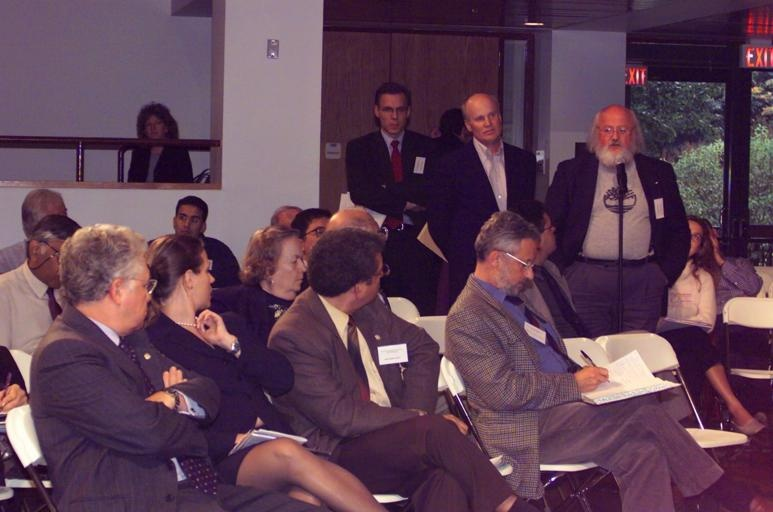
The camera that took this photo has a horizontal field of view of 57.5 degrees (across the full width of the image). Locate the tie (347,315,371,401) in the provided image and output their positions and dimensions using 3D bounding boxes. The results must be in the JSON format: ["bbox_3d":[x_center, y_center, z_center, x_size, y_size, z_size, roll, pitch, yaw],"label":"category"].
[{"bbox_3d":[-0.157,0.555,3.805,0.108,0.421,0.179,-4,8,-16],"label":"tie"}]

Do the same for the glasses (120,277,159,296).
[{"bbox_3d":[-1.119,0.134,3.230,0.043,0.078,0.160,3,9,33],"label":"glasses"}]

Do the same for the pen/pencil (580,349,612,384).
[{"bbox_3d":[1.220,0.649,4.132,0.168,0.024,0.024,40,47,4],"label":"pen/pencil"}]

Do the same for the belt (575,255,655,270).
[{"bbox_3d":[1.724,0.036,5.279,0.560,0.088,0.124,-1,8,8],"label":"belt"}]

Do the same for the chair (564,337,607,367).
[{"bbox_3d":[1.259,0.579,4.453,0.223,0.239,0.181,-1,3,31],"label":"chair"}]

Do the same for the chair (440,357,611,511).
[{"bbox_3d":[0.780,0.902,4.023,0.811,1.217,0.666,-5,-1,19],"label":"chair"}]

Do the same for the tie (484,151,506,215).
[{"bbox_3d":[0.834,-0.591,5.379,0.163,0.461,0.113,-1,7,6],"label":"tie"}]

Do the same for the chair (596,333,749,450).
[{"bbox_3d":[1.794,0.908,4.651,0.745,1.128,0.765,-5,-4,5],"label":"chair"}]

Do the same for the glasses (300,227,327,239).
[{"bbox_3d":[-0.491,-0.170,4.794,0.155,0.053,0.154,-1,-8,-32],"label":"glasses"}]
